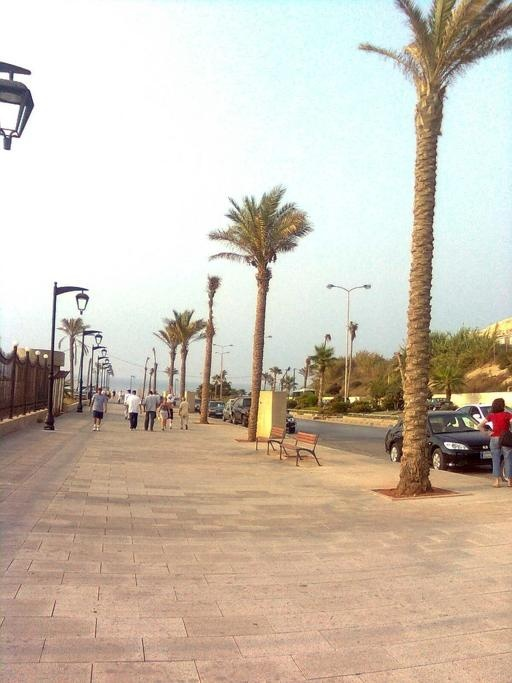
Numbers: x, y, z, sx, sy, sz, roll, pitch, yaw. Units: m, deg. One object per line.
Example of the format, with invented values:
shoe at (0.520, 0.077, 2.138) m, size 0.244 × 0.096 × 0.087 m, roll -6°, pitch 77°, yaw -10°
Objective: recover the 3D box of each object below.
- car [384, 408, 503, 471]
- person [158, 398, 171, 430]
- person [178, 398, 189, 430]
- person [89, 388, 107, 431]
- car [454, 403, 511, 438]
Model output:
car at (5.287, 2.854, 14.794) m, size 1.582 × 1.298 × 3.611 m, roll 1°, pitch -11°, yaw -10°
person at (-4.568, 3.598, 25.117) m, size 0.441 × 1.538 × 2.863 m, roll 3°, pitch -7°, yaw -10°
person at (-3.750, 3.748, 25.993) m, size 0.426 × 1.503 × 2.371 m, roll 3°, pitch -6°, yaw -10°
person at (-6.736, 2.927, 21.438) m, size 0.430 × 1.717 × 1.043 m, roll 5°, pitch -6°, yaw -23°
car at (6.209, 2.187, 13.931) m, size 1.142 × 0.962 × 2.443 m, roll 0°, pitch -10°, yaw -9°
